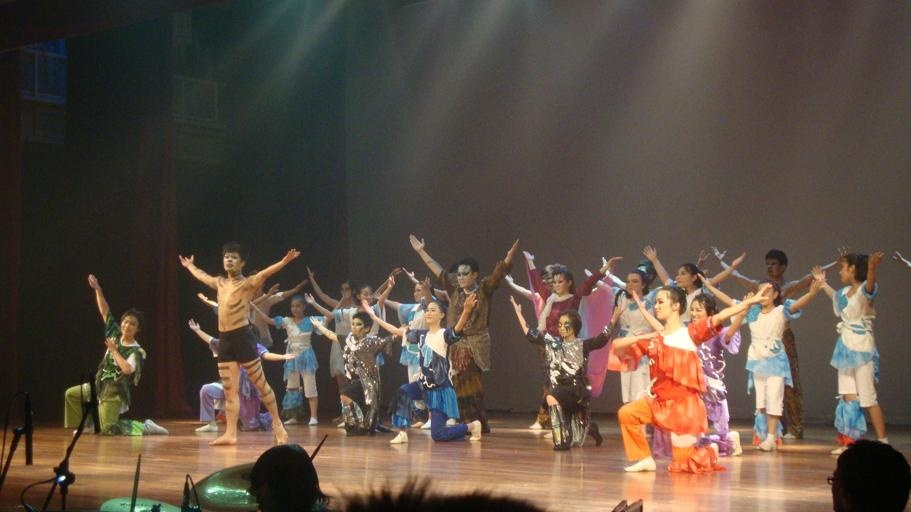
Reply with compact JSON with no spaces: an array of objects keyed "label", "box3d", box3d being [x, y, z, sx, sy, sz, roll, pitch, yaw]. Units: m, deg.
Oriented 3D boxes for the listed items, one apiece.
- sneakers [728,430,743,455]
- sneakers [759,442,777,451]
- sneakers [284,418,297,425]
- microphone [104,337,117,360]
[{"label":"sneakers","box3d":[3.119,2.084,8.743,0.122,0.266,0.356,-6,-16,21]},{"label":"sneakers","box3d":[3.532,2.152,8.895,0.167,0.067,0.081,5,-9,-19]},{"label":"sneakers","box3d":[-2.278,2.258,10.715,0.157,0.067,0.083,2,-11,2]},{"label":"microphone","box3d":[-4.470,1.186,10.108,0.088,0.271,0.204,-23,-8,-30]}]
